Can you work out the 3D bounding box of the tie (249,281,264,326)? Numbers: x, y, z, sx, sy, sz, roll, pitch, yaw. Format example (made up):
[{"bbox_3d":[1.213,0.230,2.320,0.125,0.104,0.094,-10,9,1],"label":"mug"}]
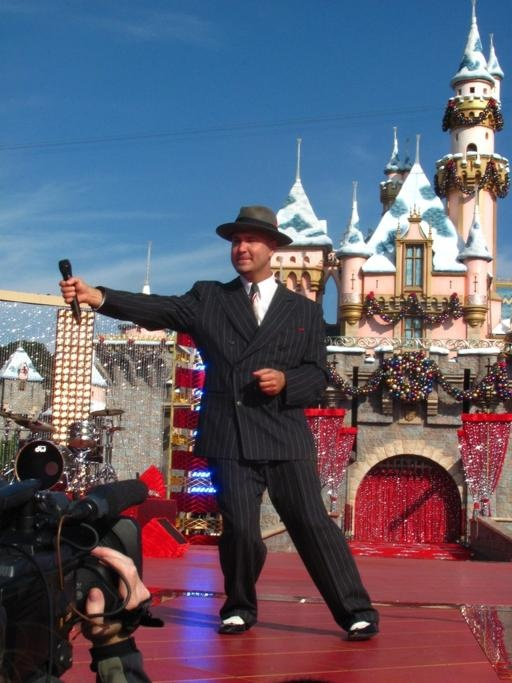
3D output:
[{"bbox_3d":[0.012,-0.173,3.823,0.052,0.192,0.056,-5,-5,-3],"label":"tie"}]

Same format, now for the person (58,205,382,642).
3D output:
[{"bbox_3d":[-0.035,0.467,3.703,1.083,1.270,0.624,-1,1,2],"label":"person"}]
